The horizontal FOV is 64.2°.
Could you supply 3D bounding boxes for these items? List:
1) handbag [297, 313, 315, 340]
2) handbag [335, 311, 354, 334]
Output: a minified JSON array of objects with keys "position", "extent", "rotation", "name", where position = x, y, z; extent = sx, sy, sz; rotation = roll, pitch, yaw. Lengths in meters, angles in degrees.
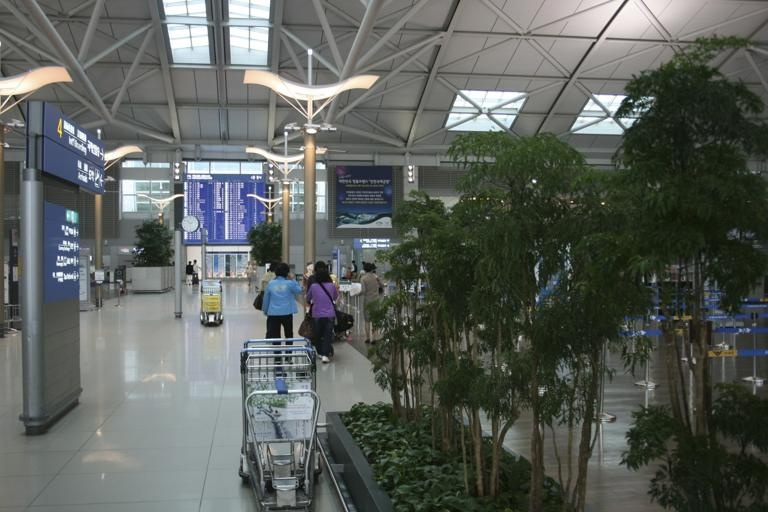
[{"position":[-1.395,1.246,11.024],"extent":[0.242,0.462,0.734],"rotation":[0,-3,-9],"name":"handbag"},{"position":[-0.817,1.299,12.242],"extent":[0.522,0.500,0.367],"rotation":[-3,4,-11],"name":"handbag"}]
